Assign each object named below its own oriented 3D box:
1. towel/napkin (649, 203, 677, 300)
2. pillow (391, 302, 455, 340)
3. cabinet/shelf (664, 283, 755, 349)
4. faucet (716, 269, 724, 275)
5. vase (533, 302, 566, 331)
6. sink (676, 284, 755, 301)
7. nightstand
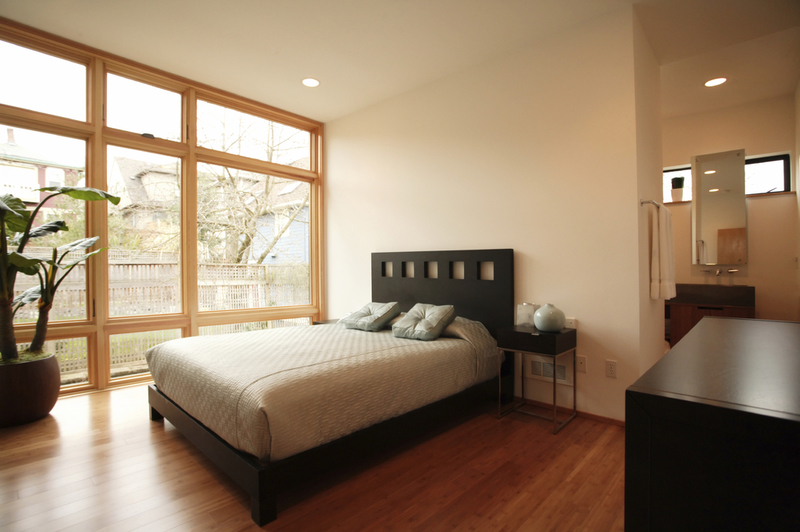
[{"bbox_3d":[2.352,-0.146,4.868,0.139,0.551,0.231,-2,1,40],"label":"towel/napkin"},{"bbox_3d":[0.200,0.518,5.134,0.498,0.270,0.485,-3,1,-36],"label":"pillow"},{"bbox_3d":[2.993,0.440,5.173,0.899,0.683,0.306,-1,-3,28],"label":"cabinet/shelf"},{"bbox_3d":[3.812,0.058,6.428,0.050,0.078,0.090,10,10,42],"label":"faucet"},{"bbox_3d":[1.284,0.428,4.778,0.261,0.210,0.253,-2,4,-32],"label":"vase"},{"bbox_3d":[3.730,0.308,6.412,0.795,0.218,0.155,-2,1,42],"label":"sink"},{"bbox_3d":[1.224,0.964,4.908,0.644,0.689,0.499,-2,1,37],"label":"nightstand"}]
